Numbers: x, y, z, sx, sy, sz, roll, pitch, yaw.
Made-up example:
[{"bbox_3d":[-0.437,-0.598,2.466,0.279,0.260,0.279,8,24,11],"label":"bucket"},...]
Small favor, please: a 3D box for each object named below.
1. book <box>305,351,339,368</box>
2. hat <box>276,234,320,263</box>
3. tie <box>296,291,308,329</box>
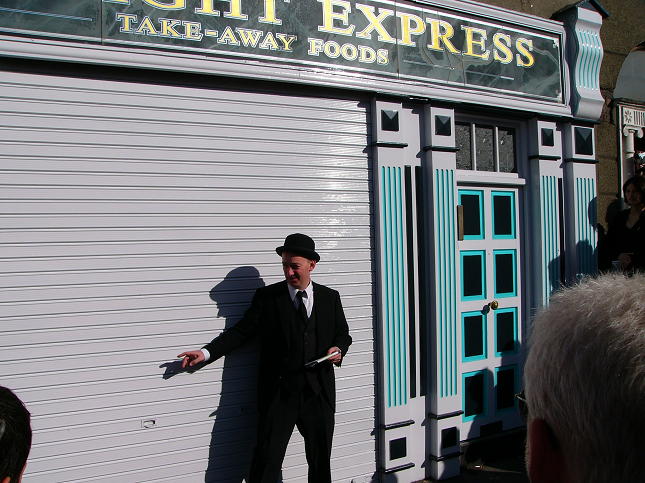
[{"bbox_3d":[-0.016,0.969,4.605,0.351,0.036,0.189,-18,-11,-6],"label":"book"},{"bbox_3d":[-0.194,0.038,4.655,0.245,0.103,0.290,11,-15,16],"label":"hat"},{"bbox_3d":[-0.179,0.565,4.658,0.094,0.294,0.046,-3,-10,-1],"label":"tie"}]
